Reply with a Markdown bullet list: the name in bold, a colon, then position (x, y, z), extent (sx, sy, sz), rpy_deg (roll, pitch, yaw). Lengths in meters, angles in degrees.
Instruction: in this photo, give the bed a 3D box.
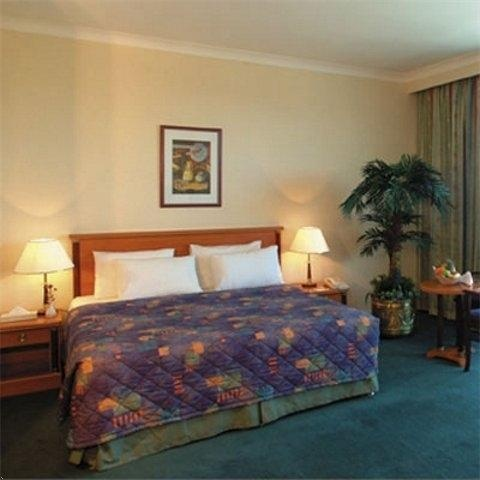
- **bed**: position (-0.522, 0.843, 3.878), extent (2.302, 1.196, 1.799), rpy_deg (-2, -1, -23)
